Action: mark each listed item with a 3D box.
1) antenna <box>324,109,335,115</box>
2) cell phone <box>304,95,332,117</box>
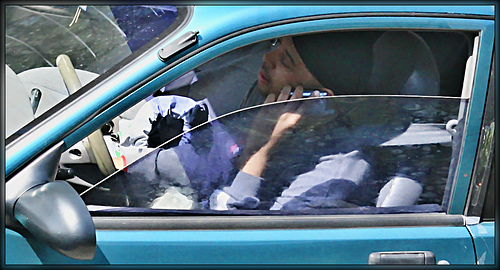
[{"bbox_3d":[0.421,-0.122,2.722,0.052,0.033,0.004,4,-8,-1],"label":"antenna"},{"bbox_3d":[0.363,-0.150,2.725,0.134,0.109,0.033,7,-1,1],"label":"cell phone"}]
